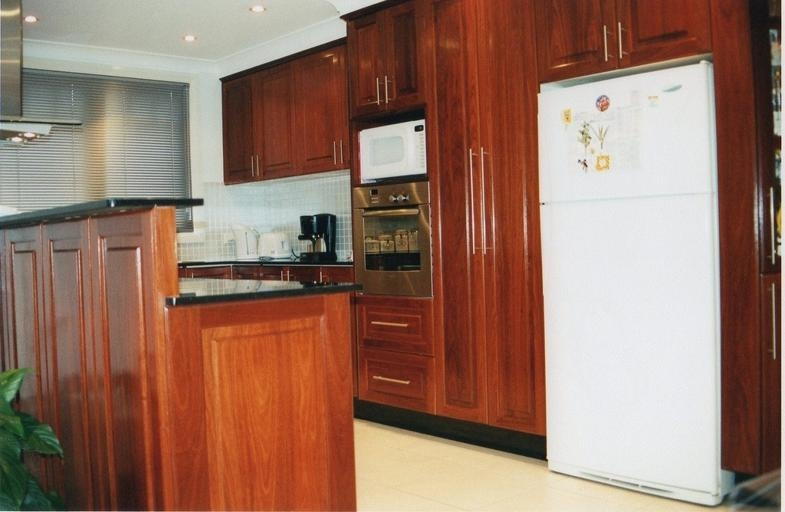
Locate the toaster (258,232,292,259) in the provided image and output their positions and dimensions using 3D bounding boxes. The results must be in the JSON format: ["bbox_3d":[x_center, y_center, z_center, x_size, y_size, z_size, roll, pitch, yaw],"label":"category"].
[{"bbox_3d":[-1.133,-0.093,6.420,0.205,0.296,0.294,-4,-2,3],"label":"toaster"}]

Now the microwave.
[{"bbox_3d":[-0.008,-0.747,4.830,0.419,0.448,0.712,0,0,-44],"label":"microwave"}]

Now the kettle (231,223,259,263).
[{"bbox_3d":[-1.456,-0.140,6.580,0.275,0.326,0.238,-3,6,-1],"label":"kettle"}]

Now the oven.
[{"bbox_3d":[-0.126,-0.114,4.908,0.637,0.788,0.544,-3,0,-28],"label":"oven"}]
